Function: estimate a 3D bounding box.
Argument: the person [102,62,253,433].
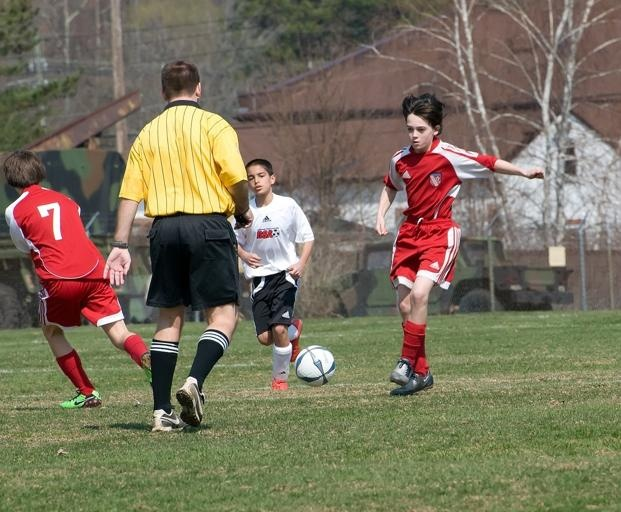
[{"bbox_3d":[-0.990,-0.097,11.227,0.763,3.028,0.820,4,8,35],"label":"person"}]

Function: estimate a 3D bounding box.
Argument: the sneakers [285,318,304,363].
[{"bbox_3d":[-0.143,0.878,13.550,0.131,0.450,0.196,-2,44,-1],"label":"sneakers"}]

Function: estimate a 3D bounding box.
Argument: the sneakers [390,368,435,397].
[{"bbox_3d":[0.962,1.157,12.358,0.437,0.174,0.155,-6,3,-43],"label":"sneakers"}]

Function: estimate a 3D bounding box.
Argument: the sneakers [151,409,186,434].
[{"bbox_3d":[-1.183,1.369,11.215,0.126,0.162,0.328,-1,-2,32],"label":"sneakers"}]

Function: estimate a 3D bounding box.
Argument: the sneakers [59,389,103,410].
[{"bbox_3d":[-2.110,1.307,12.369,0.388,0.213,0.148,-2,-12,-2],"label":"sneakers"}]

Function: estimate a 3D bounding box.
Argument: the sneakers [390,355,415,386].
[{"bbox_3d":[0.860,1.046,12.205,0.114,0.185,0.340,12,-6,18],"label":"sneakers"}]

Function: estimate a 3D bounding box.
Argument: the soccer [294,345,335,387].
[{"bbox_3d":[0.072,1.038,12.944,0.331,0.378,0.350,-2,-2,-26],"label":"soccer"}]

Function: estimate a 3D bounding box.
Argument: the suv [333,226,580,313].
[{"bbox_3d":[2.052,0.368,19.513,2.210,1.119,1.510,-1,-1,25],"label":"suv"}]

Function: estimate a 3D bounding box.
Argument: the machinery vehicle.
[{"bbox_3d":[-3.265,-0.569,22.881,3.716,3.685,2.213,-2,1,-23],"label":"machinery vehicle"}]

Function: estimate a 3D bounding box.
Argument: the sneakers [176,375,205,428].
[{"bbox_3d":[-0.984,1.205,11.060,0.216,0.450,0.274,-1,7,-1],"label":"sneakers"}]

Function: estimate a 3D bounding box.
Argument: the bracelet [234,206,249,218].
[{"bbox_3d":[-0.567,-0.370,11.313,0.095,0.109,0.103,3,4,22],"label":"bracelet"}]

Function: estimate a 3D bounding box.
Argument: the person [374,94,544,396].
[{"bbox_3d":[1.136,-0.121,12.402,1.132,2.716,0.882,1,7,17],"label":"person"}]
